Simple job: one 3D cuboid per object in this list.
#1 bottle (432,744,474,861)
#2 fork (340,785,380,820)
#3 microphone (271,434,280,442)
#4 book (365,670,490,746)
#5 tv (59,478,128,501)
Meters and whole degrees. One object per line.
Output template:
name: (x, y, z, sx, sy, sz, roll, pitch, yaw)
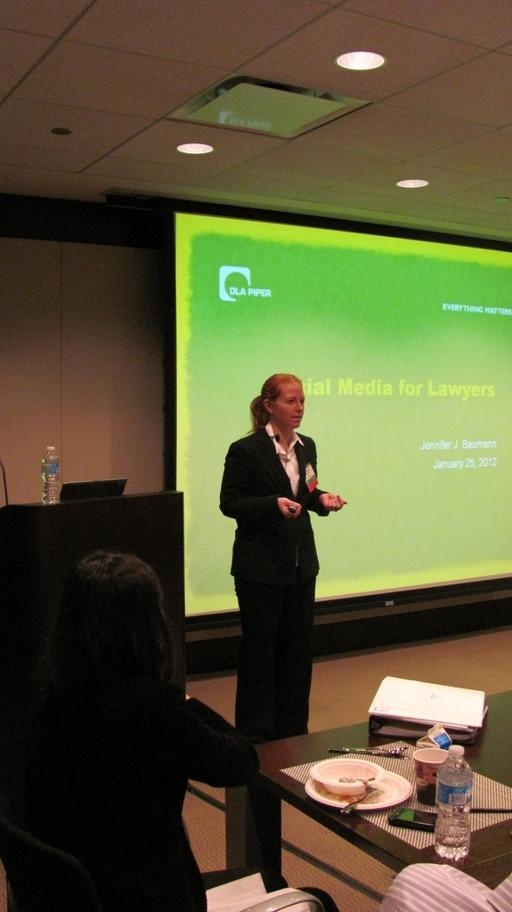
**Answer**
bottle: (0.325, 0.574, 1.177, 0.060, 0.134, 0.146, 0, 3, 15)
fork: (0.197, 0.641, 1.324, 0.026, 0.016, 0.126, 1, 4, 36)
microphone: (0.090, -0.083, 3.116, 0.029, 0.029, 0.030, 0, -5, -4)
book: (0.420, 0.629, 1.749, 0.166, 0.049, 0.174, 7, 11, 20)
tv: (-0.553, 0.114, 2.457, 0.120, 0.059, 0.315, 1, 4, 35)
